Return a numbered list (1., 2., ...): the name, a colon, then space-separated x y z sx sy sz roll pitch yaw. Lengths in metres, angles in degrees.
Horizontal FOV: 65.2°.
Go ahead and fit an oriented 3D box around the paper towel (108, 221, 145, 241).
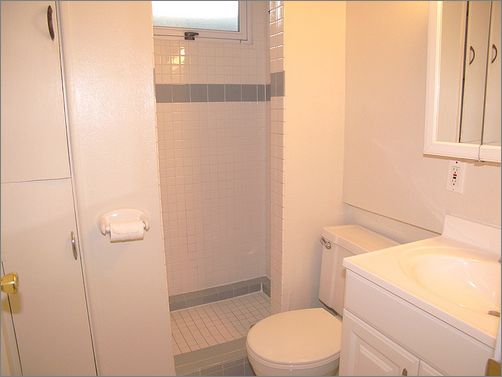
1. paper towel: -0.575 0.193 1.800 0.160 0.090 0.064 1 -3 -20
